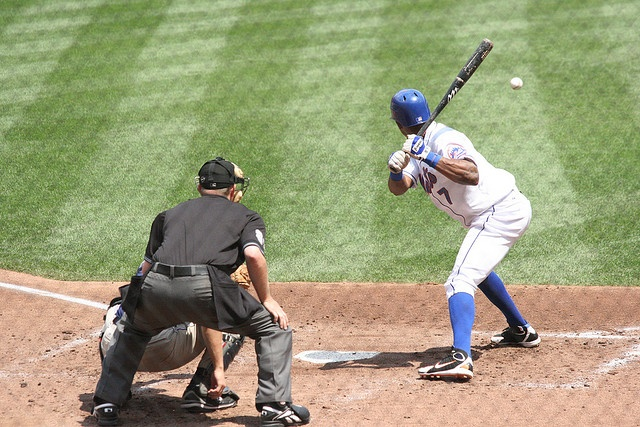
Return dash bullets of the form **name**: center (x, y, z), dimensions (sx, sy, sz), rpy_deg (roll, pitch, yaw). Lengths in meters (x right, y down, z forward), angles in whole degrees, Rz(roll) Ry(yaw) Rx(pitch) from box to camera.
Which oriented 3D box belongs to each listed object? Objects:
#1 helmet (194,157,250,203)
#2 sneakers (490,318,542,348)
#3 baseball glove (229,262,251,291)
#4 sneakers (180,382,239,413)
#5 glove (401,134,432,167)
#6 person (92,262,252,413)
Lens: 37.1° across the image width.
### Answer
- **helmet**: center (-0.855, -0.295, 8.482), dimensions (0.386, 0.359, 0.451), rpy_deg (4, 6, 24)
- **sneakers**: center (1.851, 1.138, 9.125), dimensions (0.532, 0.210, 0.185), rpy_deg (2, 15, 5)
- **baseball glove**: center (-0.691, 0.554, 8.480), dimensions (0.297, 0.304, 0.184), rpy_deg (0, -3, -5)
- **sneakers**: center (-0.986, 1.620, 8.505), dimensions (0.550, 0.236, 0.203), rpy_deg (-1, -1, -19)
- **glove**: center (0.877, -0.590, 8.652), dimensions (0.078, 0.264, 0.191), rpy_deg (-18, 38, 61)
- **person**: center (-1.250, 1.107, 8.303), dimensions (1.011, 1.153, 0.694), rpy_deg (17, 25, 17)
